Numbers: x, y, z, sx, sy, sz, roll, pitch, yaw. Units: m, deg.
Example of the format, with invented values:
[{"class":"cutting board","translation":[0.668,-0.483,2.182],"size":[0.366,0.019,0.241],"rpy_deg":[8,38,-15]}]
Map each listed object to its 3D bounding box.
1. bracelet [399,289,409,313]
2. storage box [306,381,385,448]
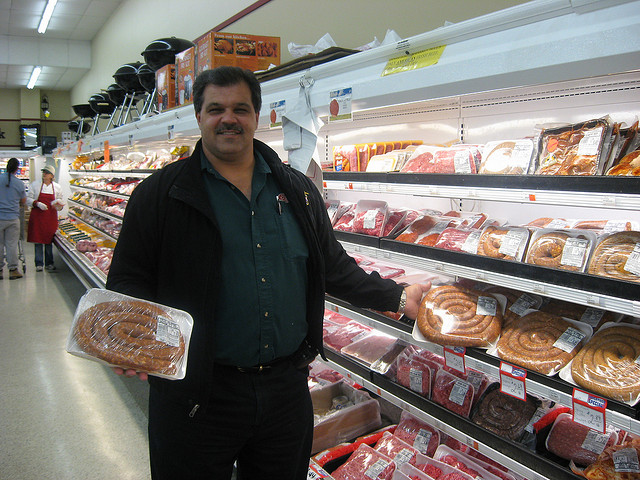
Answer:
[{"class":"bracelet","translation":[0.359,0.270,1.690],"size":[0.034,0.083,0.064],"rpy_deg":[7,-10,8]},{"class":"storage box","translation":[0.039,1.148,2.606],"size":[0.646,0.179,0.601],"rpy_deg":[-8,-2,-9]}]
